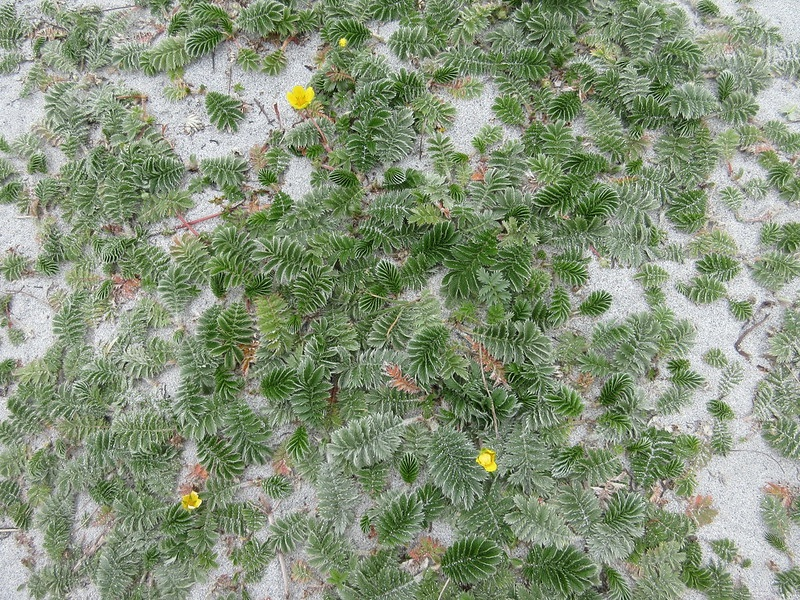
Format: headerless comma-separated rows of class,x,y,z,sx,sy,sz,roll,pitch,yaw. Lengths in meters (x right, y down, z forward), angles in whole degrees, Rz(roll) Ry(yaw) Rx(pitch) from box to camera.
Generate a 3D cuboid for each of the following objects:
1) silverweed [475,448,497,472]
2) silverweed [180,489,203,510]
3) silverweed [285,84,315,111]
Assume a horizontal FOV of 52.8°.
silverweed,0.788,1.424,7.186,0.205,0.350,0.210,7,80,3
silverweed,-1.931,1.853,7.429,0.231,0.230,0.172,-13,80,0
silverweed,-0.954,-1.973,7.827,0.252,0.130,0.321,11,97,5
